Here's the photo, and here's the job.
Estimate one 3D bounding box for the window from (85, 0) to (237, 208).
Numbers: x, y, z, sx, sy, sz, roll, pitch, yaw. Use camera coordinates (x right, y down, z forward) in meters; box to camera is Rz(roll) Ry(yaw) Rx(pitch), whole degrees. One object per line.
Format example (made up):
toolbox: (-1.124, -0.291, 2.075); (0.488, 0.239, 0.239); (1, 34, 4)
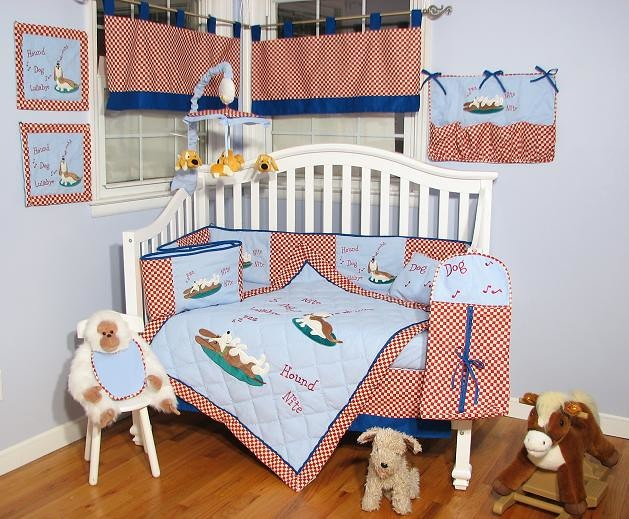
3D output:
window: (-0.842, -0.827, 3.042); (0.118, 1.285, 1.076); (6, 11, 32)

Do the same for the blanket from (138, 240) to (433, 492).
blanket: (-0.196, 0.451, 2.540); (1.121, 0.317, 1.067); (-23, 35, -39)

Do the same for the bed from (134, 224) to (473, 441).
bed: (0.031, -0.025, 2.657); (1.619, 1.095, 0.909); (4, 12, 19)

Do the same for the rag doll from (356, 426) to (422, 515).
rag doll: (0.319, 0.832, 2.374); (0.277, 0.356, 0.311); (0, 0, 17)

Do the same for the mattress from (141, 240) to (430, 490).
mattress: (-0.157, 0.279, 2.858); (1.440, 0.349, 1.643); (-6, 42, -7)

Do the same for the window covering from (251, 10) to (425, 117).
window covering: (0.126, -1.078, 3.255); (1.042, 0.500, 0.010); (-8, 30, -15)

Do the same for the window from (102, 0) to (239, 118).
window: (-0.776, -1.053, 3.093); (0.107, 0.506, 0.835); (9, 15, 32)

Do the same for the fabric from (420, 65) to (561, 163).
fabric: (0.952, -0.776, 3.022); (0.526, 0.410, 0.042); (3, 13, 20)

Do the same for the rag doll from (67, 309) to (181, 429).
rag doll: (-0.827, 0.455, 2.392); (0.428, 0.512, 0.152); (-16, -9, -33)

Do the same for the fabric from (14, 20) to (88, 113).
fabric: (-1.184, -0.857, 2.576); (0.021, 0.353, 0.370); (20, 22, 27)

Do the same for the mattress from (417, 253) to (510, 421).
mattress: (0.617, 0.328, 2.338); (0.363, 0.683, 0.078); (3, 13, 11)
